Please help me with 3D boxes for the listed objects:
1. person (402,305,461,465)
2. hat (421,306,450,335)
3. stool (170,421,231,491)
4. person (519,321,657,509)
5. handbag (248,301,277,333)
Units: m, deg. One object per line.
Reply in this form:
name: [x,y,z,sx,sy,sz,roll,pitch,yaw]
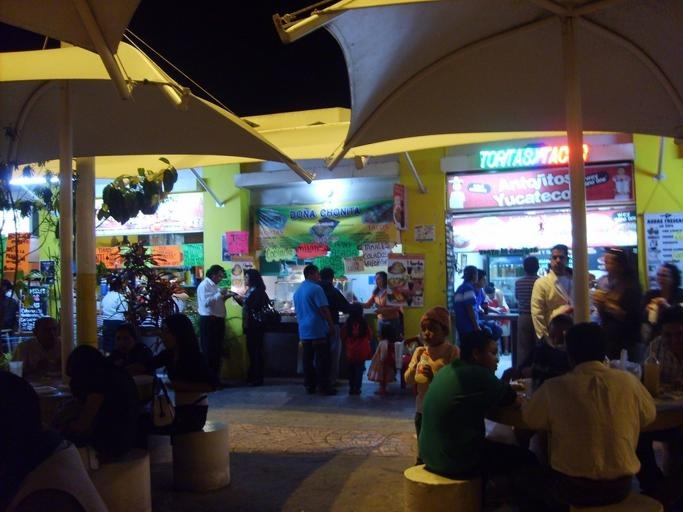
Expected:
person: [0.826,1.271,5.722,0.501,1.573,0.520,1,0,6]
hat: [0.847,0.609,5.727,0.261,0.256,0.203,-8,-22,-8]
stool: [-1.372,1.945,6.027,0.539,0.578,0.514,2,-6,-31]
person: [1.685,1.086,4.215,0.847,1.250,0.324,-2,-1,19]
handbag: [-1.291,1.051,10.556,0.368,0.456,0.621,-35,-20,27]
